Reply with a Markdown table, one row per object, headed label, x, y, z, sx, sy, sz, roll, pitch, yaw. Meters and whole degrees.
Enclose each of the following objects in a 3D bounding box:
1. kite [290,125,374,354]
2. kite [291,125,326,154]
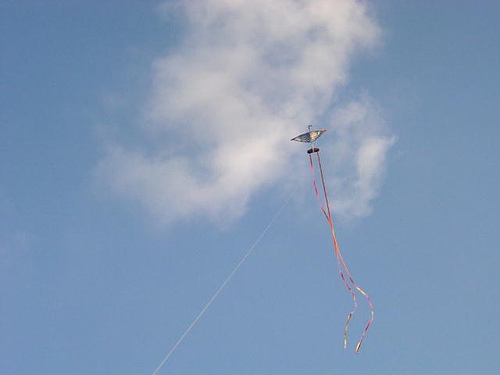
| label | x | y | z | sx | sy | sz | roll | pitch | yaw |
| --- | --- | --- | --- | --- | --- | --- | --- | --- | --- |
| kite | 2.625 | 1.647 | 31.224 | 1.224 | 1.388 | 7.649 | -6 | -80 | 48 |
| kite | 2.578 | -2.078 | 43.725 | 1.378 | 1.387 | 1.544 | -13 | -18 | 2 |
